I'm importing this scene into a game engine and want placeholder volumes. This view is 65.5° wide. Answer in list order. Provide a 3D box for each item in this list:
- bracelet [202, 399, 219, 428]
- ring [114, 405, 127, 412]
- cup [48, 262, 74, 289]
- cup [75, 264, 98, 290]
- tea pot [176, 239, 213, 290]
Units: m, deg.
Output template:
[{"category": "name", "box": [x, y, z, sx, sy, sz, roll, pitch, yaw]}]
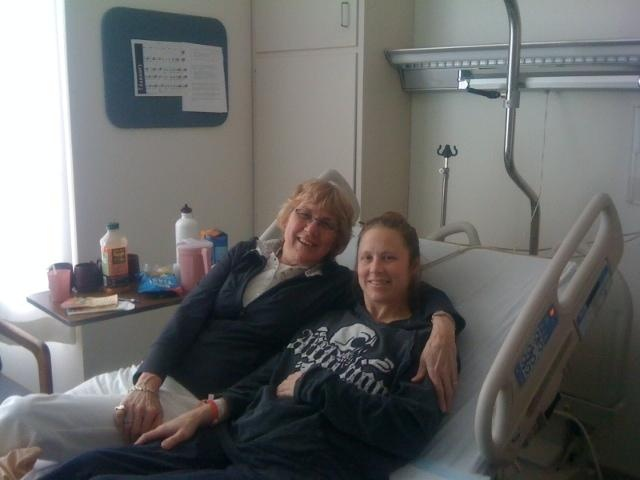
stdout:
[{"category": "bracelet", "box": [-0.351, 0.554, 1.579, 0.022, 0.048, 0.062, 1, 45, -44]}, {"category": "ring", "box": [-0.643, 0.537, 1.595, 0.024, 0.009, 0.019, -8, -8, 11]}, {"category": "cup", "box": [-1.138, 0.145, 2.201, 0.112, 0.126, 0.106, 3, 16, -1]}, {"category": "cup", "box": [-1.028, 0.162, 2.234, 0.077, 0.113, 0.125, 7, 8, 35]}, {"category": "tea pot", "box": [-0.563, 0.106, 2.345, 0.195, 0.256, 0.188, 2, 6, 0]}]
